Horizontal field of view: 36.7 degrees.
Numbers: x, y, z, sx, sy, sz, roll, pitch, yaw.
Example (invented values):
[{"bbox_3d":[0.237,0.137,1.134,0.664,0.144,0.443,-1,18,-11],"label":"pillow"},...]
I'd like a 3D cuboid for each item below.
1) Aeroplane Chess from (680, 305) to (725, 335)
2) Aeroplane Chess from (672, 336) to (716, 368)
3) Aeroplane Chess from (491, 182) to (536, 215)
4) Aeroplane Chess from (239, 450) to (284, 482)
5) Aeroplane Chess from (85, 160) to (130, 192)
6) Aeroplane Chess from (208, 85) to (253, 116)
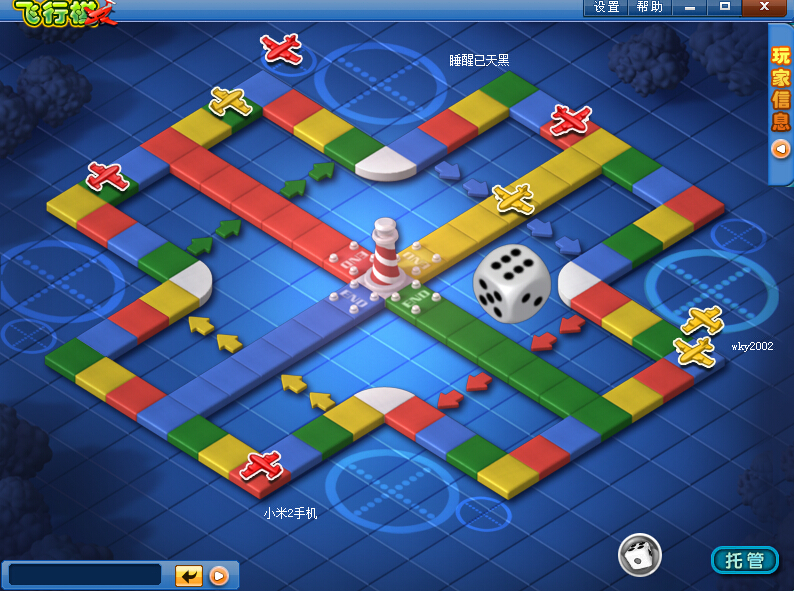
[{"bbox_3d":[4.493,0.362,17.594,0.614,0.079,0.471,-36,57,-22],"label":"Aeroplane Chess"},{"bbox_3d":[4.293,0.814,17.300,0.512,0.136,0.475,-34,59,-29],"label":"Aeroplane Chess"},{"bbox_3d":[1.813,-1.511,18.531,0.581,0.068,0.562,35,56,26],"label":"Aeroplane Chess"},{"bbox_3d":[-1.811,2.301,16.249,0.463,0.093,0.502,36,54,24],"label":"Aeroplane Chess"},{"bbox_3d":[-4.545,-1.861,18.924,0.669,0.225,0.554,34,59,14],"label":"Aeroplane Chess"},{"bbox_3d":[-2.705,-3.133,19.471,0.639,0.118,0.567,37,62,16],"label":"Aeroplane Chess"}]
